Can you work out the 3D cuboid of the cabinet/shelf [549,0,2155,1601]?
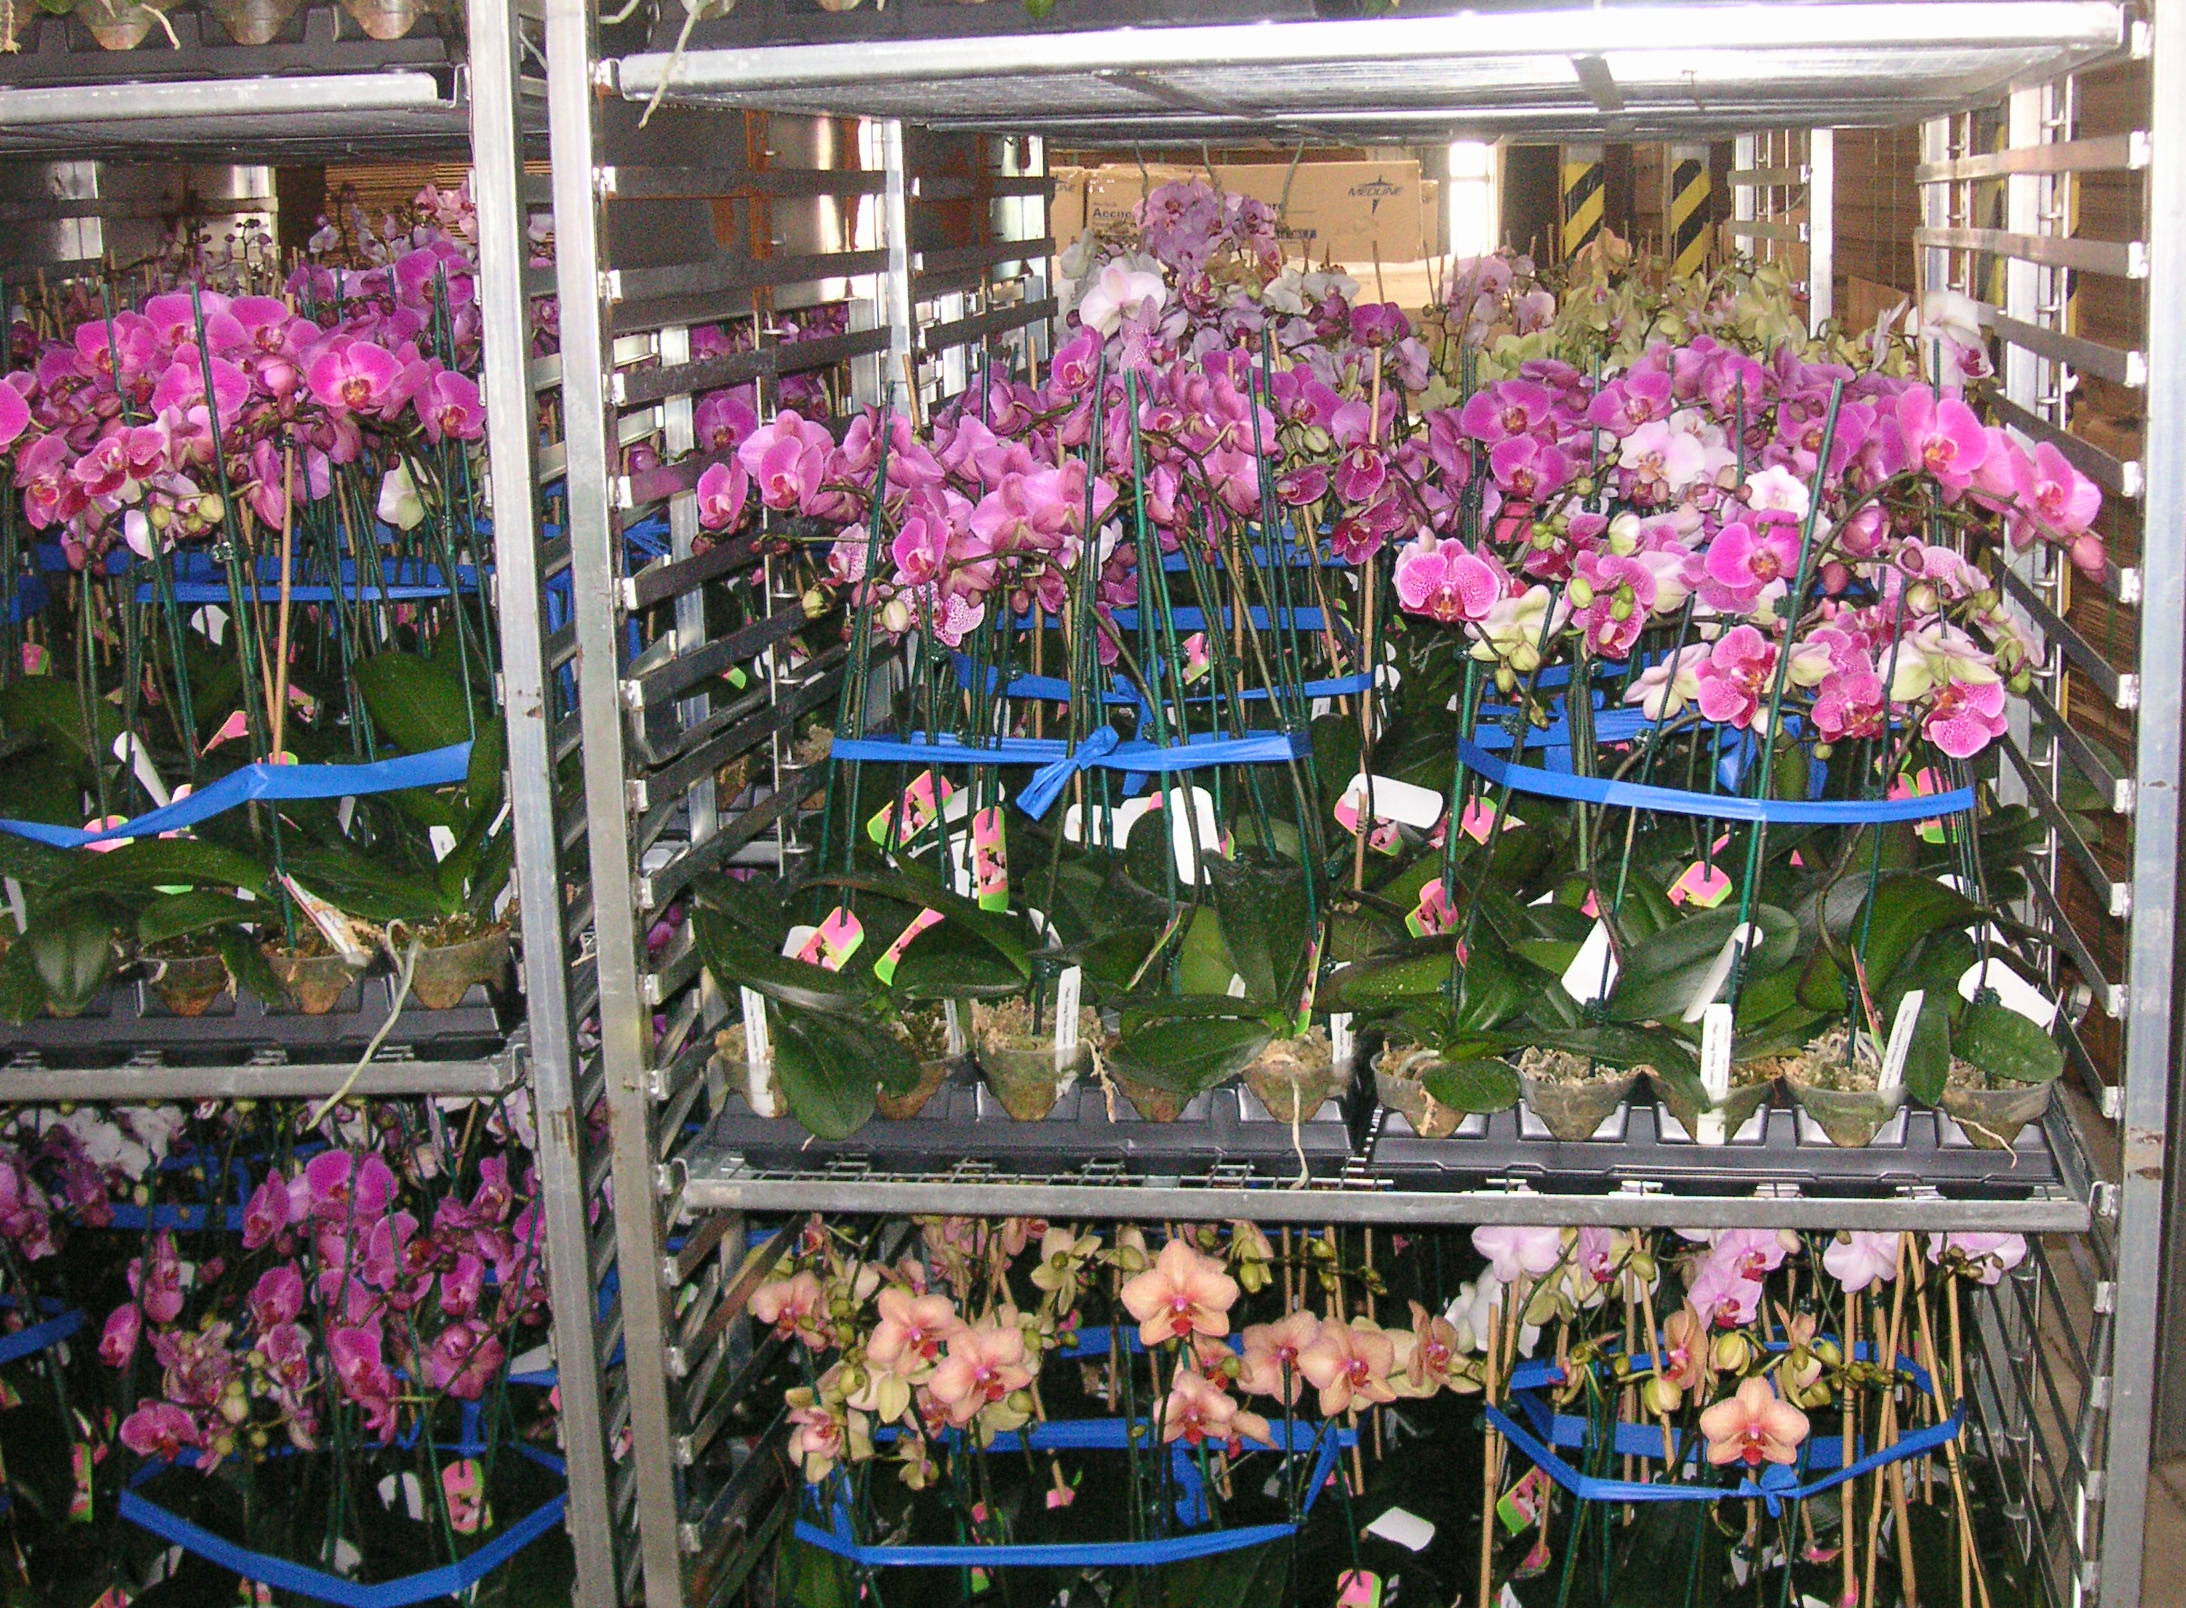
[{"bbox_3d":[0.216,-0.006,2.040,1.651,1.761,1.072,-1,3,4],"label":"cabinet/shelf"}]

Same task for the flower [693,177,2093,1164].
[{"bbox_3d":[0.310,-0.139,2.182,1.329,1.170,1.056,0,12,3],"label":"flower"}]
